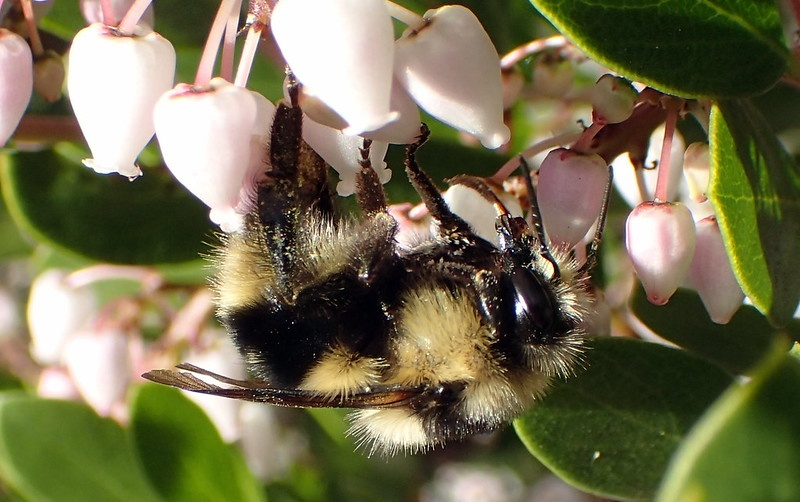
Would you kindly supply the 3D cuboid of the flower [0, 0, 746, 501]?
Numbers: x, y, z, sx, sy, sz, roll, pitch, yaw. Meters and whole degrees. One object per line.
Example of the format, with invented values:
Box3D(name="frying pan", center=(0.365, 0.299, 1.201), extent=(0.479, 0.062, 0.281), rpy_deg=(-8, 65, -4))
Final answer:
Box3D(name="flower", center=(-0.041, -0.047, 1.536), extent=(0.818, 0.256, 0.560), rpy_deg=(23, 31, -8))
